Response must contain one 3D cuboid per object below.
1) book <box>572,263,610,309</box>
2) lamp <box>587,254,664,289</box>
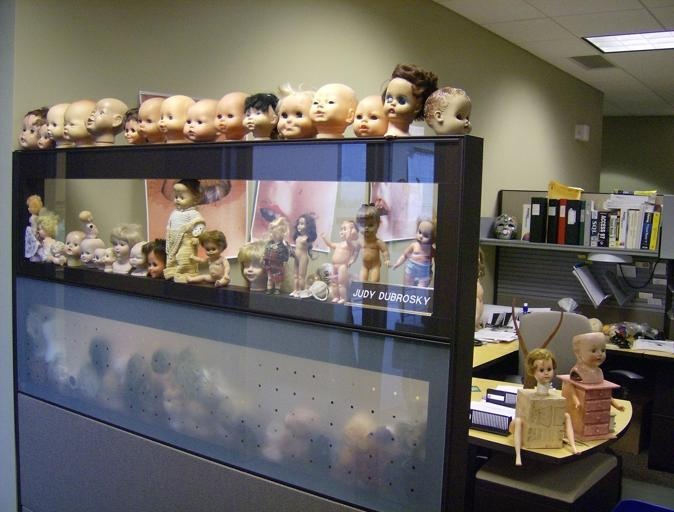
[{"bbox_3d":[1.816,0.197,4.103,0.062,0.270,0.262,-30,2,21],"label":"book"},{"bbox_3d":[1.988,0.071,3.994,0.368,0.239,0.091,26,34,28],"label":"lamp"}]
